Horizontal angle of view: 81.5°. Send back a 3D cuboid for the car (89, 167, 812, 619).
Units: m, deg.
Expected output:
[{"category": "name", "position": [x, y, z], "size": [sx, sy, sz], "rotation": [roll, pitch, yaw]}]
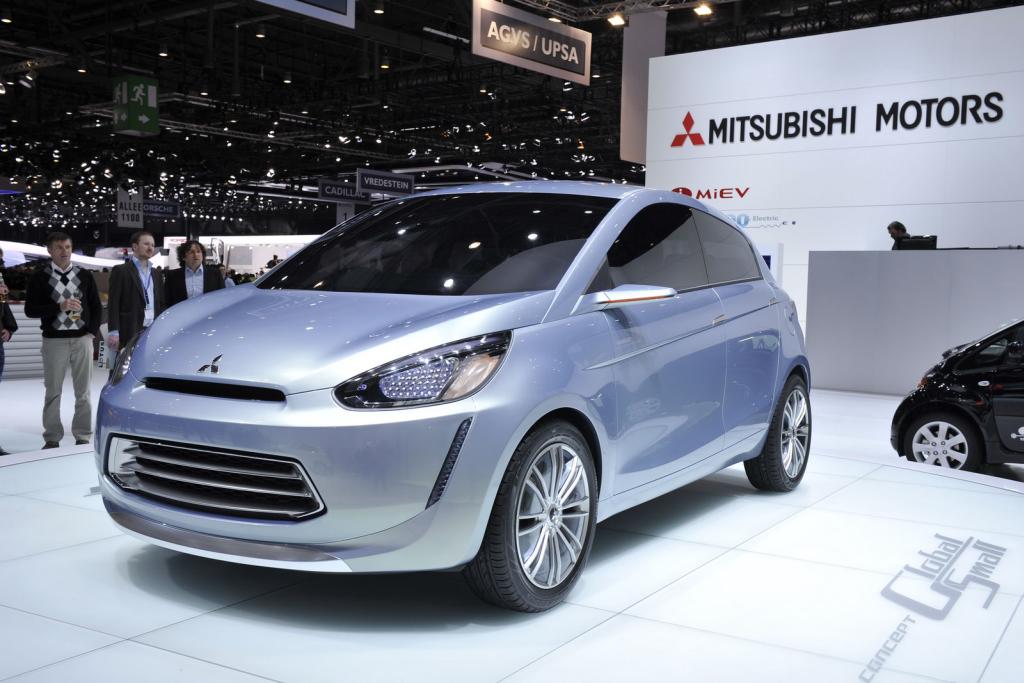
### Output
[{"category": "car", "position": [0.188, 0.033, 4.173], "size": [2.463, 1.841, 4.420], "rotation": [5, 7, 44]}]
